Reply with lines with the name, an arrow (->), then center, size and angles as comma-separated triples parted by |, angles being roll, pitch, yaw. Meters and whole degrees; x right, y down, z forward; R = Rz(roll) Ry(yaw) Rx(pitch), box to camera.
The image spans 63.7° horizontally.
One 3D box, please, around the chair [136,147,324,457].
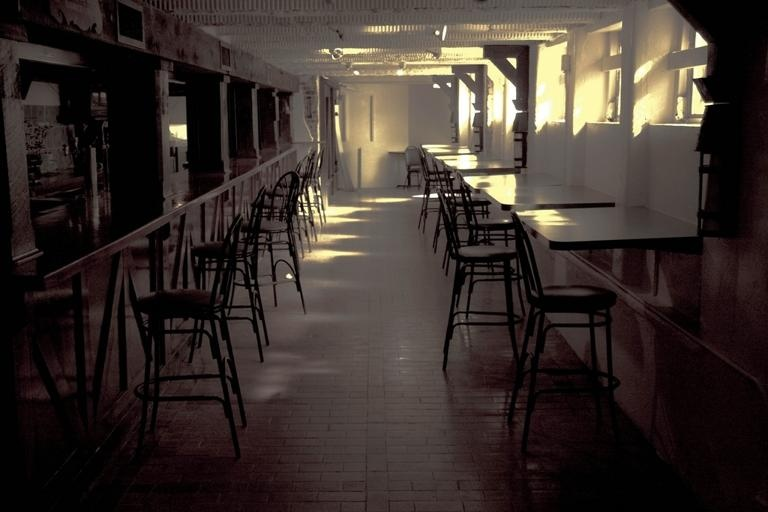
chair -> -1.171, 0.335, 4.655 | 0.778, 1.326, 2.254 | 3, 10, 2
